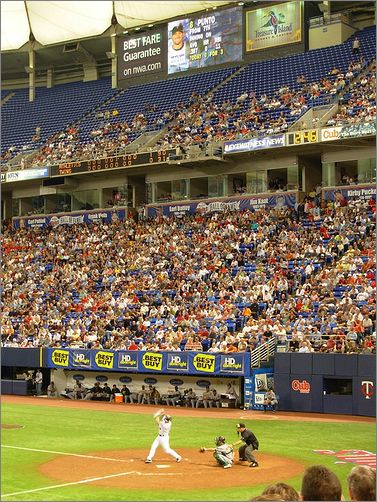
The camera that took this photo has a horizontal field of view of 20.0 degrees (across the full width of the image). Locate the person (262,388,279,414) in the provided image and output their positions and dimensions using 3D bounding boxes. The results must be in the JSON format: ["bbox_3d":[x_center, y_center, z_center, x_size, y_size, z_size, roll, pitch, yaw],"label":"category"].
[{"bbox_3d":[2.927,5.409,38.563,0.538,0.936,0.662,0,-15,9],"label":"person"}]

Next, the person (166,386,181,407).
[{"bbox_3d":[-0.609,5.657,41.651,0.503,0.728,0.848,-2,2,-18],"label":"person"}]

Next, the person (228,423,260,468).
[{"bbox_3d":[1.520,5.325,29.435,0.745,1.169,0.855,-3,1,-17],"label":"person"}]

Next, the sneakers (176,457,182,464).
[{"bbox_3d":[-0.297,5.635,29.055,0.158,0.219,0.104,-3,-28,2],"label":"sneakers"}]

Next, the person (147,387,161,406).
[{"bbox_3d":[-1.414,5.752,42.168,0.429,1.076,0.365,-9,-28,1],"label":"person"}]

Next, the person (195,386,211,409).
[{"bbox_3d":[0.601,5.573,40.703,0.714,0.781,0.518,0,2,43],"label":"person"}]

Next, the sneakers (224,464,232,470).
[{"bbox_3d":[1.034,5.850,29.003,0.220,0.095,0.076,5,31,-3],"label":"sneakers"}]

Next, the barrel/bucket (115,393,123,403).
[{"bbox_3d":[-2.871,5.943,43.168,0.326,0.340,0.317,2,-9,0],"label":"barrel/bucket"}]

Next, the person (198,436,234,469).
[{"bbox_3d":[0.784,5.502,29.290,0.901,0.808,0.535,4,-2,19],"label":"person"}]

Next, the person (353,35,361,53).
[{"bbox_3d":[8.771,-10.763,55.991,0.415,1.032,1.466,-1,1,9],"label":"person"}]

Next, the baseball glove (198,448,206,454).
[{"bbox_3d":[0.315,5.559,29.851,0.182,0.174,0.334,-9,-9,-9],"label":"baseball glove"}]

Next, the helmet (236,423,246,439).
[{"bbox_3d":[1.395,4.888,29.182,0.383,0.370,0.305,2,-8,2],"label":"helmet"}]

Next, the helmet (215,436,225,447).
[{"bbox_3d":[0.835,5.174,29.147,0.221,0.256,0.270,6,10,-18],"label":"helmet"}]

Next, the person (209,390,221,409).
[{"bbox_3d":[0.954,5.602,40.369,0.503,0.835,0.490,-2,-21,6],"label":"person"}]

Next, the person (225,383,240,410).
[{"bbox_3d":[1.643,5.445,40.214,0.531,0.920,0.425,0,3,45],"label":"person"}]

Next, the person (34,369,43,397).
[{"bbox_3d":[-6.526,5.688,46.108,0.338,1.091,1.201,-2,2,-9],"label":"person"}]

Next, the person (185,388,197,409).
[{"bbox_3d":[0.042,5.668,41.019,0.378,0.711,0.434,-13,-47,4],"label":"person"}]
